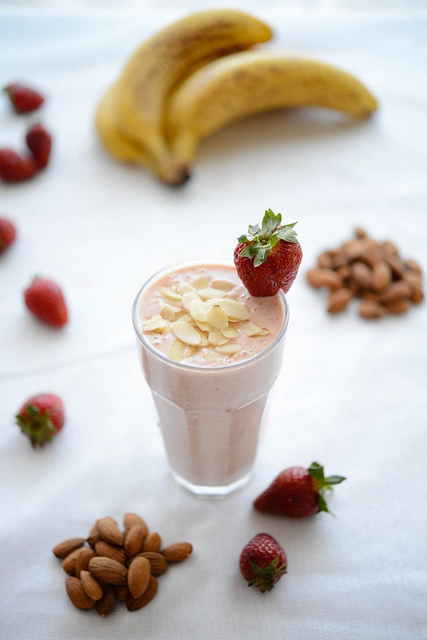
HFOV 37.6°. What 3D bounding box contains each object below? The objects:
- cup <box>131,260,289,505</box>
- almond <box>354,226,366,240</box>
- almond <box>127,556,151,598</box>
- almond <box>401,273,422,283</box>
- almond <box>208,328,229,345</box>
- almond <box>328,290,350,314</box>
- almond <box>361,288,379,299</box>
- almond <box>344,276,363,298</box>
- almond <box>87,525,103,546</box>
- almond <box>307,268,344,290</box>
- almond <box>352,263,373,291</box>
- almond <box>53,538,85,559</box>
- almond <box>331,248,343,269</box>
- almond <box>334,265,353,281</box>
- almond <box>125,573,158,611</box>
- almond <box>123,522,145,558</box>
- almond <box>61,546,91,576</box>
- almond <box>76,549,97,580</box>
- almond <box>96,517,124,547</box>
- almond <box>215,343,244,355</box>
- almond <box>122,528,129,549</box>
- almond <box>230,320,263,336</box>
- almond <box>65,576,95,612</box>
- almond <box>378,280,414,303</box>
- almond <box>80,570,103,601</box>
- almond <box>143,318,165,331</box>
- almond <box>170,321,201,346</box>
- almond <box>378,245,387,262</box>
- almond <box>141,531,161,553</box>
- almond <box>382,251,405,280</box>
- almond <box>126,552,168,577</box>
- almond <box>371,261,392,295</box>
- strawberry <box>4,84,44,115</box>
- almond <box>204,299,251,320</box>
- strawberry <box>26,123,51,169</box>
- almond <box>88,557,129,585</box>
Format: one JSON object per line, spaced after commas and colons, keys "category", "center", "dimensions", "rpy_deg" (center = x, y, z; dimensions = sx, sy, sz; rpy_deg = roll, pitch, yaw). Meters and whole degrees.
{"category": "cup", "center": [-0.009, 0.112, 1.097], "dimensions": [0.241, 0.387, 0.256], "rpy_deg": [-1, 47, 1]}
{"category": "almond", "center": [0.347, -0.206, 1.488], "dimensions": [0.029, 0.012, 0.033], "rpy_deg": [-2, 64, 3]}
{"category": "almond", "center": [-0.112, 0.383, 0.943], "dimensions": [0.031, 0.017, 0.047], "rpy_deg": [10, 52, -8]}
{"category": "almond", "center": [0.441, -0.094, 1.406], "dimensions": [0.027, 0.007, 0.026], "rpy_deg": [27, 40, 15]}
{"category": "almond", "center": [0.004, 0.026, 0.940], "dimensions": [0.027, 0.007, 0.031], "rpy_deg": [-29, 51, -25]}
{"category": "almond", "center": [0.285, -0.040, 1.436], "dimensions": [0.041, 0.052, 0.019], "rpy_deg": [41, 13, 27]}
{"category": "almond", "center": [0.356, -0.057, 1.428], "dimensions": [0.022, 0.028, 0.007], "rpy_deg": [6, 72, 5]}
{"category": "almond", "center": [0.319, -0.075, 1.431], "dimensions": [0.030, 0.050, 0.016], "rpy_deg": [-26, 18, 9]}
{"category": "almond", "center": [-0.192, 0.347, 1.009], "dimensions": [0.022, 0.010, 0.023], "rpy_deg": [3, 50, -6]}
{"category": "almond", "center": [0.258, -0.095, 1.439], "dimensions": [0.085, 0.037, 0.047], "rpy_deg": [15, 44, 19]}
{"category": "almond", "center": [0.329, -0.096, 1.419], "dimensions": [0.034, 0.036, 0.062], "rpy_deg": [-5, 61, -4]}
{"category": "almond", "center": [-0.236, 0.367, 1.018], "dimensions": [0.040, 0.014, 0.026], "rpy_deg": [-21, 27, -26]}
{"category": "almond", "center": [0.283, -0.140, 1.445], "dimensions": [0.029, 0.041, 0.042], "rpy_deg": [-2, 37, 4]}
{"category": "almond", "center": [0.294, -0.114, 1.457], "dimensions": [0.027, 0.031, 0.034], "rpy_deg": [-31, 63, -33]}
{"category": "almond", "center": [-0.106, 0.410, 0.956], "dimensions": [0.038, 0.011, 0.051], "rpy_deg": [25, 70, -16]}
{"category": "almond", "center": [-0.127, 0.349, 0.996], "dimensions": [0.024, 0.017, 0.042], "rpy_deg": [19, 58, -3]}
{"category": "almond", "center": [-0.214, 0.379, 0.985], "dimensions": [0.032, 0.016, 0.048], "rpy_deg": [32, 65, 13]}
{"category": "almond", "center": [-0.204, 0.378, 0.976], "dimensions": [0.028, 0.010, 0.037], "rpy_deg": [6, 64, 0]}
{"category": "almond", "center": [-0.167, 0.338, 1.004], "dimensions": [0.026, 0.016, 0.049], "rpy_deg": [-36, 30, -12]}
{"category": "almond", "center": [0.021, 0.042, 0.926], "dimensions": [0.030, 0.005, 0.018], "rpy_deg": [-12, 39, -14]}
{"category": "almond", "center": [-0.141, 0.347, 1.001], "dimensions": [0.006, 0.007, 0.026], "rpy_deg": [5, 57, 2]}
{"category": "almond", "center": [0.053, 0.011, 0.953], "dimensions": [0.023, 0.005, 0.038], "rpy_deg": [-30, 43, -32]}
{"category": "almond", "center": [-0.202, 0.411, 0.949], "dimensions": [0.032, 0.019, 0.052], "rpy_deg": [-32, 74, -19]}
{"category": "almond", "center": [0.404, -0.063, 1.394], "dimensions": [0.045, 0.057, 0.022], "rpy_deg": [-12, 66, -41]}
{"category": "almond", "center": [-0.185, 0.398, 0.944], "dimensions": [0.027, 0.013, 0.040], "rpy_deg": [9, 34, -50]}
{"category": "almond", "center": [-0.093, 0.006, 0.961], "dimensions": [0.027, 0.007, 0.016], "rpy_deg": [-31, 52, -25]}
{"category": "almond", "center": [-0.041, 0.020, 0.943], "dimensions": [0.034, 0.009, 0.050], "rpy_deg": [-17, 47, -15]}
{"category": "almond", "center": [0.384, -0.151, 1.430], "dimensions": [0.022, 0.008, 0.032], "rpy_deg": [-5, 78, -9]}
{"category": "almond", "center": [-0.100, 0.358, 1.011], "dimensions": [0.019, 0.021, 0.036], "rpy_deg": [21, 50, 2]}
{"category": "almond", "center": [0.401, -0.127, 1.441], "dimensions": [0.042, 0.018, 0.072], "rpy_deg": [14, 41, -41]}
{"category": "almond", "center": [-0.104, 0.381, 0.994], "dimensions": [0.061, 0.031, 0.032], "rpy_deg": [12, 43, -11]}
{"category": "almond", "center": [0.368, -0.093, 1.394], "dimensions": [0.039, 0.041, 0.070], "rpy_deg": [8, 59, 2]}
{"category": "strawberry", "center": [-0.408, -0.474, 1.355], "dimensions": [0.082, 0.056, 0.045], "rpy_deg": [8, 19, -10]}
{"category": "almond", "center": [0.022, -0.012, 0.971], "dimensions": [0.056, 0.012, 0.033], "rpy_deg": [8, 42, -2]}
{"category": "strawberry", "center": [-0.374, -0.372, 1.344], "dimensions": [0.029, 0.078, 0.047], "rpy_deg": [11, 10, 11]}
{"category": "almond", "center": [-0.157, 0.376, 0.948], "dimensions": [0.058, 0.025, 0.030], "rpy_deg": [16, 76, 4]}
